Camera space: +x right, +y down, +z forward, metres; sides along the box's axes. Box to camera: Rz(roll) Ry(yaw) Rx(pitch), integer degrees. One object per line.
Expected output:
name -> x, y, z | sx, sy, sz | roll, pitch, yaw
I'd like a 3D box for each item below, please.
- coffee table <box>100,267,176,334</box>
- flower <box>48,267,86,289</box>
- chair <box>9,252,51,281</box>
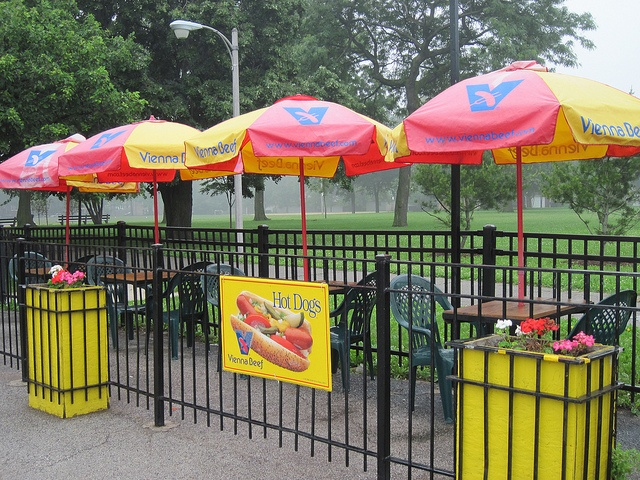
coffee table -> -2.884, 0.886, 12.920 | 0.804, 0.536, 0.818 | 1, 2, 43
flower -> -3.331, 0.497, 10.790 | 0.324, 0.252, 0.334 | -2, -1, -2
chair -> -4.837, 0.431, 13.599 | 0.526, 0.735, 0.540 | 4, 6, 40
